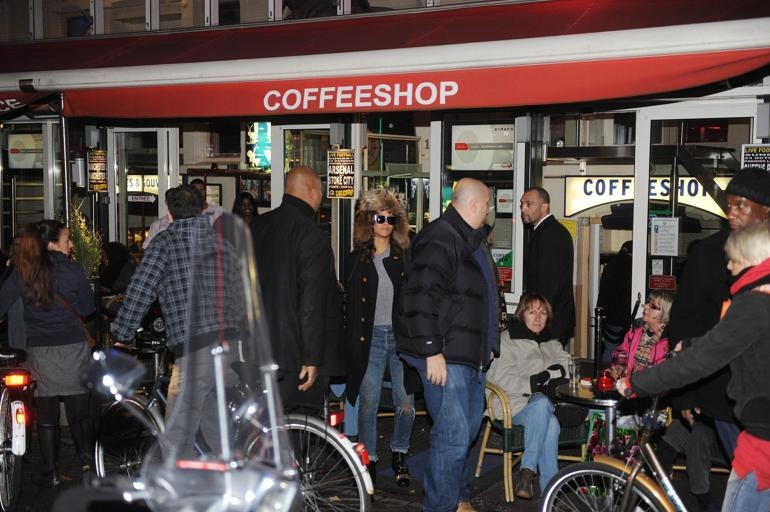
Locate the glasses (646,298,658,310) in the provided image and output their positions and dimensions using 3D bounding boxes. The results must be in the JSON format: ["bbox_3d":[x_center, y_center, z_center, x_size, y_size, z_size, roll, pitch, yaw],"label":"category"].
[{"bbox_3d":[2.421,0.431,7.906,0.098,0.033,0.096,-7,10,-13],"label":"glasses"}]

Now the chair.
[{"bbox_3d":[1.250,1.611,7.851,0.742,0.950,0.654,7,0,-22],"label":"chair"}]

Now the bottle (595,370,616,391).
[{"bbox_3d":[1.884,1.062,7.433,0.145,0.143,0.148,-4,-11,36],"label":"bottle"}]

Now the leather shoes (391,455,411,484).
[{"bbox_3d":[0.133,1.845,7.826,0.113,0.244,0.351,-4,13,-13],"label":"leather shoes"}]

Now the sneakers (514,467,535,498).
[{"bbox_3d":[1.219,1.946,7.601,0.171,0.285,0.298,-1,2,8],"label":"sneakers"}]
